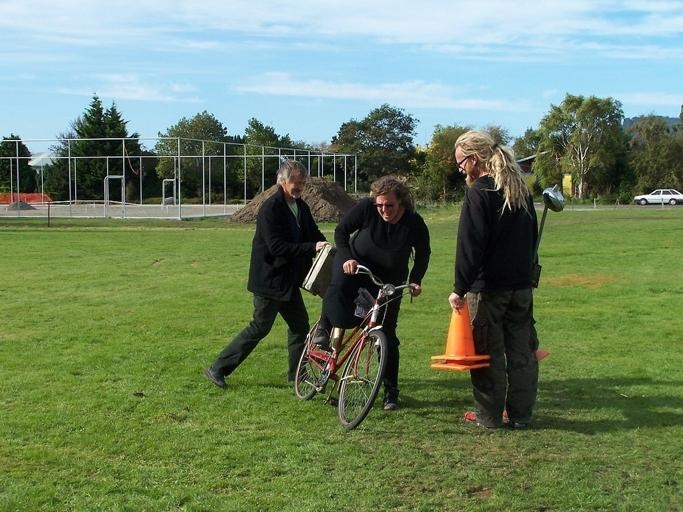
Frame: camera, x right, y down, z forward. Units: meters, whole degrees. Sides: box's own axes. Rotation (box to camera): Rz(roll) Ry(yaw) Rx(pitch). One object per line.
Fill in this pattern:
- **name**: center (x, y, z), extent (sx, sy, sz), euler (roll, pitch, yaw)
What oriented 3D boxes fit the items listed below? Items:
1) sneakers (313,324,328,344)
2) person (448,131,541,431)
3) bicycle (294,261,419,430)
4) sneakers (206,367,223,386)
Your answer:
- **sneakers**: center (-0.222, 0.792, 8.586), extent (0.175, 0.235, 0.134), euler (12, -17, -42)
- **person**: center (1.471, 0.221, 8.050), extent (0.810, 2.768, 0.697), euler (2, 14, 11)
- **bicycle**: center (0.139, 0.801, 8.352), extent (0.776, 1.524, 1.401), euler (-9, 16, -32)
- **sneakers**: center (-1.379, 1.298, 9.091), extent (0.204, 0.092, 0.075), euler (40, 29, 6)
